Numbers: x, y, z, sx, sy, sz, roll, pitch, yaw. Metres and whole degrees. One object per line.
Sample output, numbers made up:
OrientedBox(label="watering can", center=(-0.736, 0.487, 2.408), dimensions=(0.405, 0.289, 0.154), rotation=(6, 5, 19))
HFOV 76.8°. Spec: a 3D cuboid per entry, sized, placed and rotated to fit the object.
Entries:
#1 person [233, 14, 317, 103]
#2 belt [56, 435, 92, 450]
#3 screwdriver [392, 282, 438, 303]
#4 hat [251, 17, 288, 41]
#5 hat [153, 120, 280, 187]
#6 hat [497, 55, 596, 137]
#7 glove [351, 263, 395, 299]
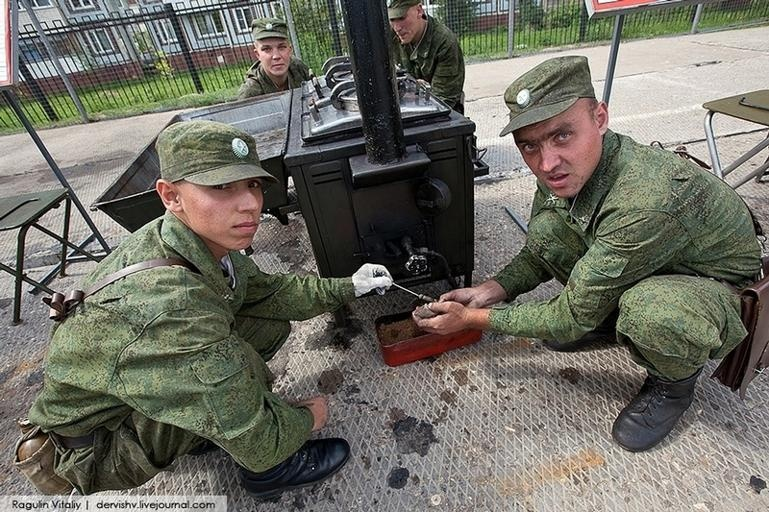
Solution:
OrientedBox(label="person", center=(-1.181, -2.088, 5.183), dimensions=(0.828, 0.747, 0.588), rotation=(-22, 34, -25))
OrientedBox(label="belt", center=(-1.771, 1.077, 2.797), dimensions=(0.110, 0.049, 0.116), rotation=(-1, -5, -5))
OrientedBox(label="screwdriver", center=(0.194, 0.280, 3.526), dimensions=(0.110, 0.119, 0.801), rotation=(0, 6, -15))
OrientedBox(label="hat", center=(-1.186, -2.323, 4.998), dimensions=(0.332, 0.204, 0.406), rotation=(-12, 33, -4))
OrientedBox(label="hat", center=(-0.999, -0.572, 2.781), dimensions=(0.577, 0.334, 0.333), rotation=(-18, 33, -13))
OrientedBox(label="hat", center=(1.008, -0.984, 2.961), dimensions=(0.559, 0.281, 0.419), rotation=(-32, 8, -23))
OrientedBox(label="glove", center=(-0.080, 0.156, 3.292), dimensions=(0.242, 0.220, 0.087), rotation=(-4, -17, -18))
